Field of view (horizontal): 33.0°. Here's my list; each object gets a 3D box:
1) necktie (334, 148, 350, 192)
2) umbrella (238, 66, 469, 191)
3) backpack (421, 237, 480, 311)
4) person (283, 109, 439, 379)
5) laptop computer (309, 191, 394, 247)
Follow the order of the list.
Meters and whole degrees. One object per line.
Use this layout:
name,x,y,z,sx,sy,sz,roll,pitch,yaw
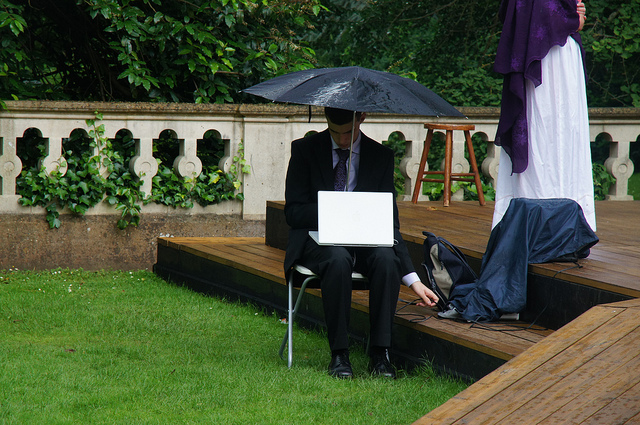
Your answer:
necktie,0.183,-0.373,9.364,0.201,0.327,0.087,-2,6,0
umbrella,0.288,-1.030,9.068,1.263,2.351,0.864,0,2,-11
backpack,1.187,0.554,9.601,0.379,0.765,0.540,-8,-9,20
person,0.319,0.107,9.434,1.120,2.360,1.458,1,5,-22
laptop computer,0.296,0.048,9.102,0.630,0.444,0.092,1,1,-5
